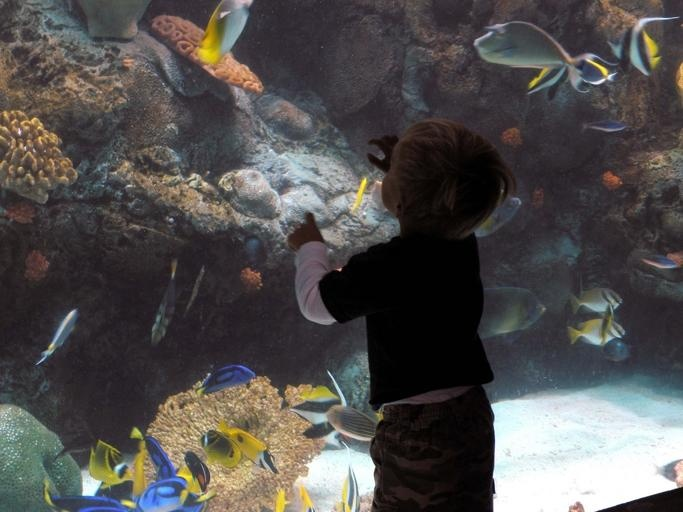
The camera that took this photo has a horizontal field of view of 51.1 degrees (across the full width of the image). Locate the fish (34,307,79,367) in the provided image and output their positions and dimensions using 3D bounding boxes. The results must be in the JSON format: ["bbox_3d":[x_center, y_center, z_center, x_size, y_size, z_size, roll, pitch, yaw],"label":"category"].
[{"bbox_3d":[-3.792,1.109,9.514,0.587,0.696,0.365,-6,10,-23],"label":"fish"}]
